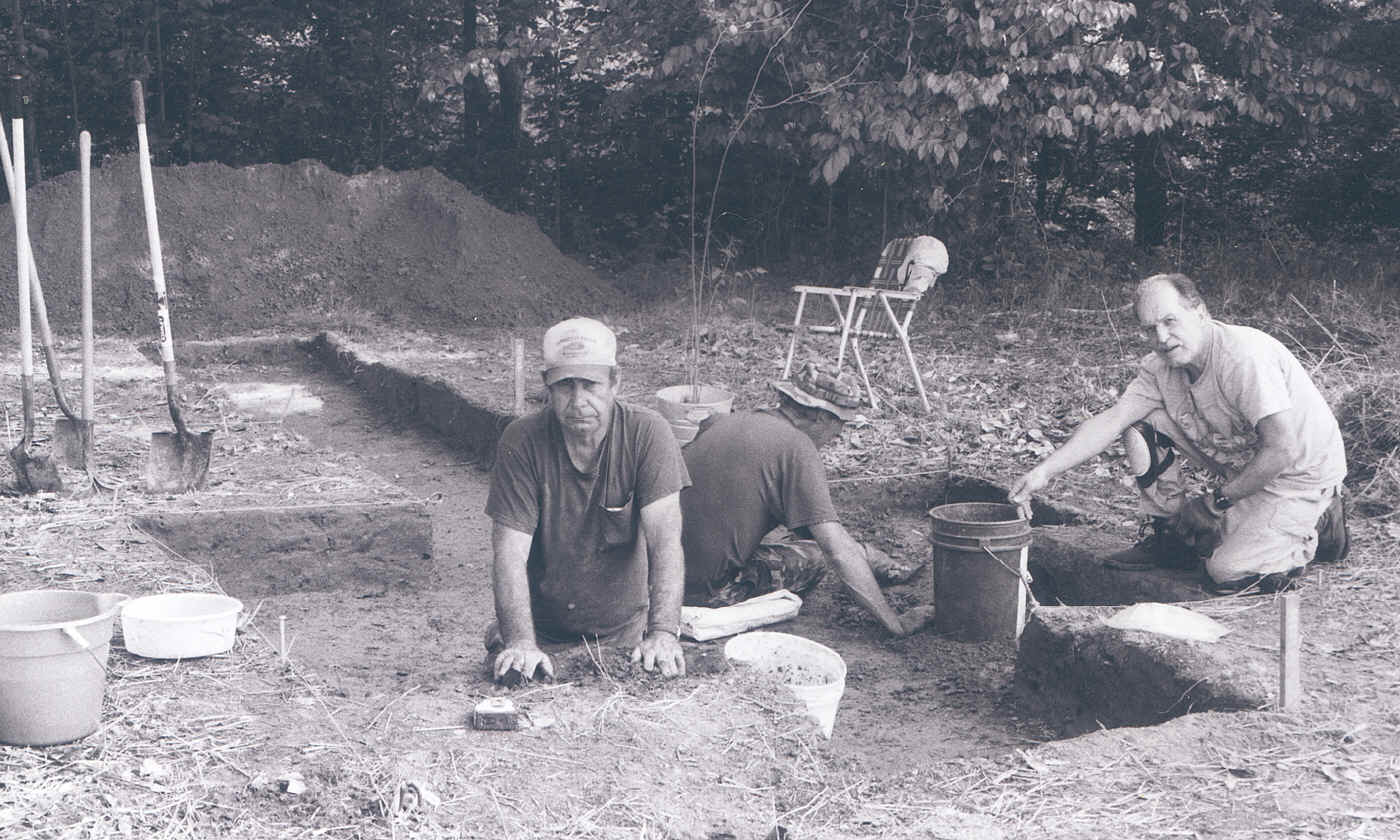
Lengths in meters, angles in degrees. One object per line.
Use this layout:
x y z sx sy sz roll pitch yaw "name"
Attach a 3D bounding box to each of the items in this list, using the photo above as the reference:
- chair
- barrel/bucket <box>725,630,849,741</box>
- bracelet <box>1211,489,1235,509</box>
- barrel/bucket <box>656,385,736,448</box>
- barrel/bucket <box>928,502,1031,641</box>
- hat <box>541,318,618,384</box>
1.575 -0.983 17.847 1.573 1.576 1.667 4 7 33 "chair"
0.660 1.950 13.251 0.755 0.588 0.821 3 3 0 "barrel/bucket"
4.057 0.597 13.991 0.156 0.125 0.120 -3 10 -16 "bracelet"
-0.047 -0.056 15.971 0.571 0.414 0.589 1 4 0 "barrel/bucket"
2.200 1.212 14.426 0.845 0.862 0.829 2 5 0 "barrel/bucket"
-0.855 -0.502 13.113 0.405 0.313 0.553 2 4 1 "hat"
